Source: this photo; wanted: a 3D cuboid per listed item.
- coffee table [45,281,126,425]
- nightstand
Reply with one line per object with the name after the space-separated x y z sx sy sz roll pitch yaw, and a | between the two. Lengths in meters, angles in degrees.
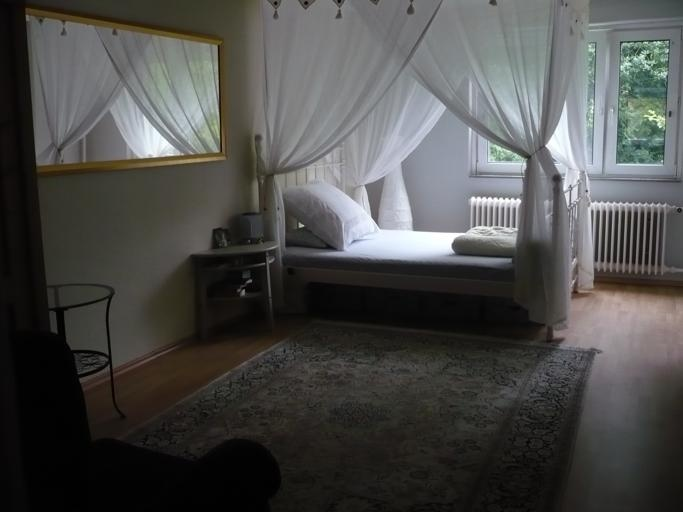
-1.375 0.524 2.632 0.467 0.586 0.502 2 4 26 | coffee table
-0.813 0.239 3.898 0.715 0.749 0.503 -3 14 1 | nightstand
